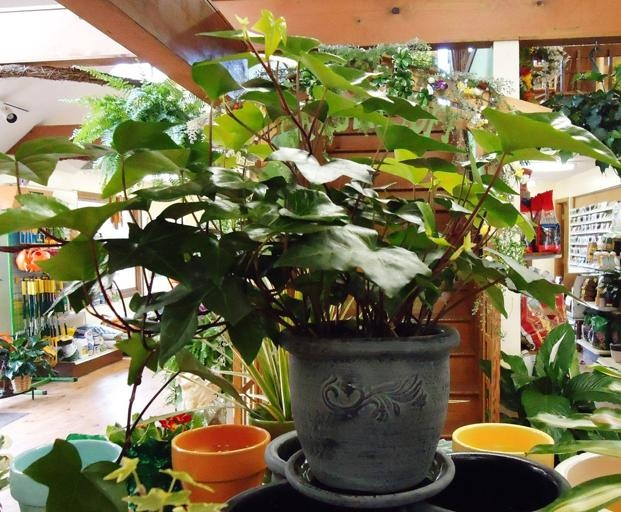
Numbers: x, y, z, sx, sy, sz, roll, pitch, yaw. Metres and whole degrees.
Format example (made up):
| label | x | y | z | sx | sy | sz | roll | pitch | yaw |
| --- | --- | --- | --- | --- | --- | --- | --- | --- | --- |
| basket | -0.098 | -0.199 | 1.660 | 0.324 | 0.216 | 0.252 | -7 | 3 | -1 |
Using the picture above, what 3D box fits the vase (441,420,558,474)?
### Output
| label | x | y | z | sx | sy | sz | roll | pitch | yaw |
| --- | --- | --- | --- | --- | --- | --- | --- | --- | --- |
| vase | 0.364 | 0.379 | 0.904 | 0.161 | 0.081 | 0.134 | -1 | -10 | 6 |
